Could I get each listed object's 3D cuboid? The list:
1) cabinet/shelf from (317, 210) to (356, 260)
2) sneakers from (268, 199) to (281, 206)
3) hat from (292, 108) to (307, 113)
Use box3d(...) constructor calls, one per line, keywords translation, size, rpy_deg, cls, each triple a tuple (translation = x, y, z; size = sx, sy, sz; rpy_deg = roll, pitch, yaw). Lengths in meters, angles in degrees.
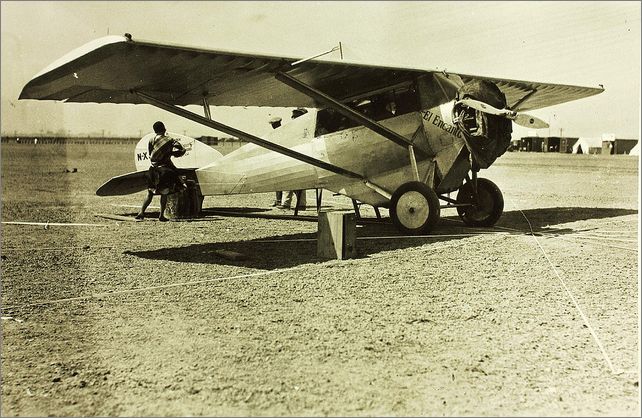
box3d(translation=(0.263, 0.422, 10.257), size=(0.376, 0.668, 0.680), rpy_deg=(-4, 7, -38), cls="cabinet/shelf")
box3d(translation=(-1.110, -0.143, 16.034), size=(0.133, 0.170, 0.387), rpy_deg=(-1, 9, -42), cls="sneakers")
box3d(translation=(-0.435, -2.035, 13.623), size=(0.200, 0.059, 0.193), rpy_deg=(-10, 13, -41), cls="hat")
